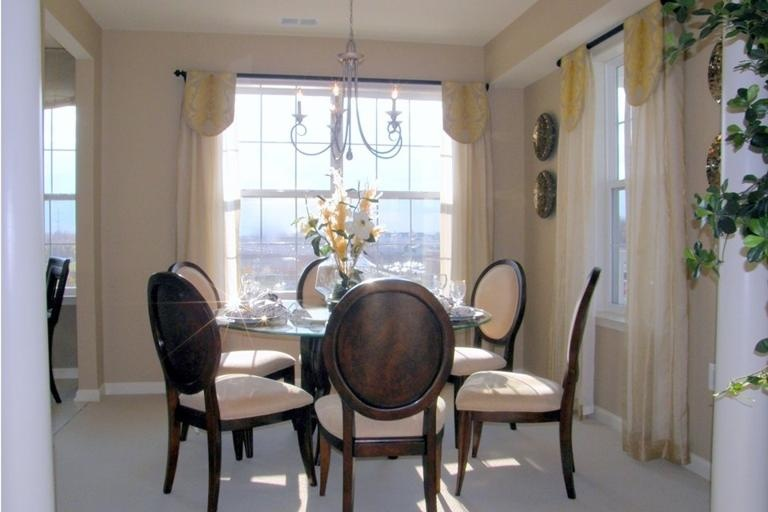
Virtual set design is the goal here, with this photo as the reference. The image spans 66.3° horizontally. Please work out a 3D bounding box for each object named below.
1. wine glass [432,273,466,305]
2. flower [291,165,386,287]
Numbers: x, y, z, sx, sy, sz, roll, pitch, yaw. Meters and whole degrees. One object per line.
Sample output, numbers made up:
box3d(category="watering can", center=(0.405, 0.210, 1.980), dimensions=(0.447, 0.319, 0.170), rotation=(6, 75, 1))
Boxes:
box3d(category="wine glass", center=(0.463, 0.245, 4.146), dimensions=(0.171, 0.316, 0.306), rotation=(-1, -1, -3))
box3d(category="flower", center=(-0.206, -0.120, 3.796), dimensions=(0.395, 0.599, 0.470), rotation=(-3, 0, -6))
